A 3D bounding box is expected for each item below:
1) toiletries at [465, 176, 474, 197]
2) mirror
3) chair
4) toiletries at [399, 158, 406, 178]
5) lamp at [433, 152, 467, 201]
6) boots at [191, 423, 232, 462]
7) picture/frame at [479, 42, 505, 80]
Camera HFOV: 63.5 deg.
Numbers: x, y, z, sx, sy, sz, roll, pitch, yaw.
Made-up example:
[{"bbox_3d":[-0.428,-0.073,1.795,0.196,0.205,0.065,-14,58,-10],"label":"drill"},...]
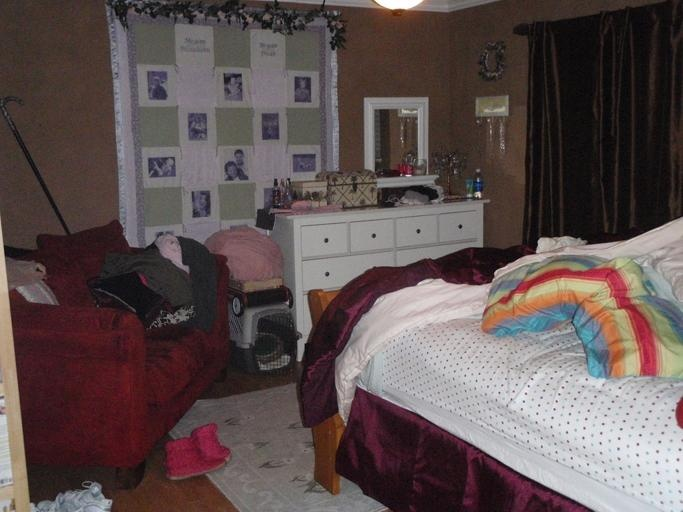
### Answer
[{"bbox_3d":[1.256,-0.652,5.386,0.071,0.161,0.158,3,13,14],"label":"toiletries"},{"bbox_3d":[0.556,-1.155,5.549,0.645,0.812,0.012,-5,17,-10],"label":"mirror"},{"bbox_3d":[-1.305,0.607,3.520,0.768,0.865,1.551,0,7,10],"label":"chair"},{"bbox_3d":[0.619,-0.884,5.509,0.080,0.144,0.145,1,12,5],"label":"toiletries"},{"bbox_3d":[1.107,-0.831,5.834,0.437,0.513,0.444,0,15,10],"label":"lamp"},{"bbox_3d":[-0.790,1.093,3.272,0.164,0.206,0.454,8,-16,-43],"label":"boots"},{"bbox_3d":[1.447,-1.861,5.272,0.032,0.382,0.355,-5,7,-34],"label":"picture/frame"}]
